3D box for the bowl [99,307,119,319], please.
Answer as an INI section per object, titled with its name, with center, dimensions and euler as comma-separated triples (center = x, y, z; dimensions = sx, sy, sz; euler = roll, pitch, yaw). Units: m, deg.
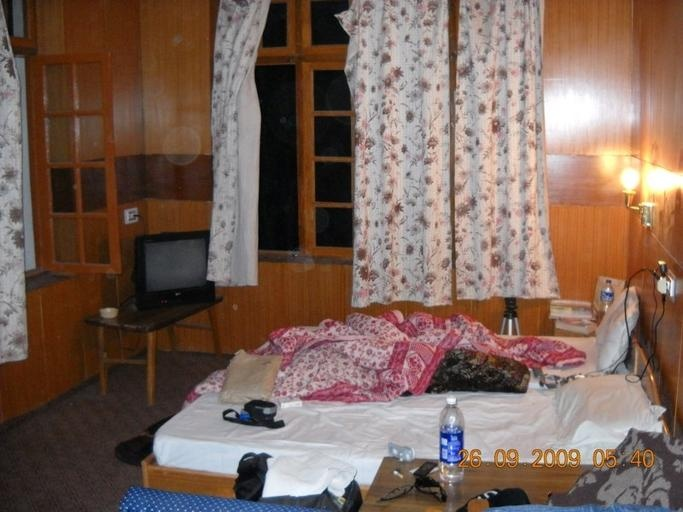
[bowl]
center = -2.013, 0.480, 4.948
dimensions = 0.159, 0.081, 0.201
euler = -4, 7, -24
